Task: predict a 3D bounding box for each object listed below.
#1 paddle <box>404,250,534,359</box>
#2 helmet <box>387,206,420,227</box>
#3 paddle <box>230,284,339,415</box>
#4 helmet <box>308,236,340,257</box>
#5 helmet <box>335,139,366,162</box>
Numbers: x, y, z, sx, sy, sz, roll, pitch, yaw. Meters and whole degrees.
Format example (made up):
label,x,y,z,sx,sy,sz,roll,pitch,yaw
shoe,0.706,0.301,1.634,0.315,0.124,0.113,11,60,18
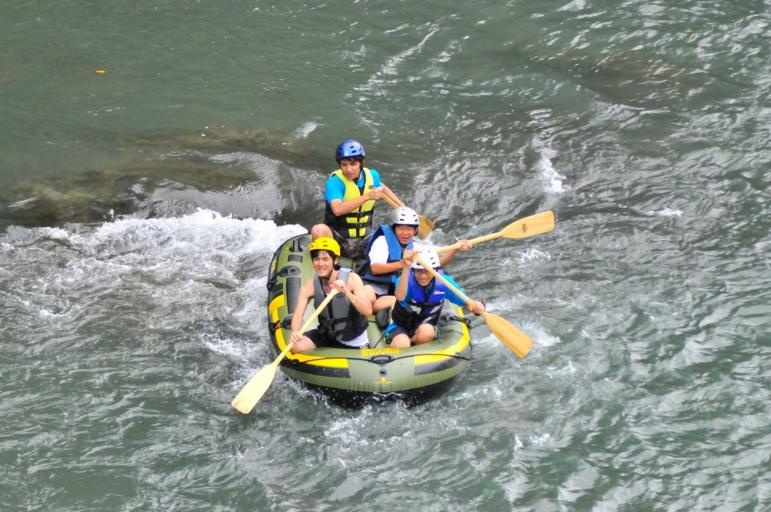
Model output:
label,x,y,z,sx,sy,sz,roll,pitch,yaw
paddle,1.360,0.857,17.375,2.979,0.228,0.369,33,113,2
helmet,0.317,-0.680,17.179,0.436,0.311,0.374,4,77,-1
paddle,-1.568,1.556,16.832,3.053,0.168,0.431,-40,78,-15
helmet,-0.946,-0.192,16.485,0.443,0.506,0.349,7,78,-1
helmet,-0.624,-1.787,17.902,0.405,0.425,0.313,-2,55,0
